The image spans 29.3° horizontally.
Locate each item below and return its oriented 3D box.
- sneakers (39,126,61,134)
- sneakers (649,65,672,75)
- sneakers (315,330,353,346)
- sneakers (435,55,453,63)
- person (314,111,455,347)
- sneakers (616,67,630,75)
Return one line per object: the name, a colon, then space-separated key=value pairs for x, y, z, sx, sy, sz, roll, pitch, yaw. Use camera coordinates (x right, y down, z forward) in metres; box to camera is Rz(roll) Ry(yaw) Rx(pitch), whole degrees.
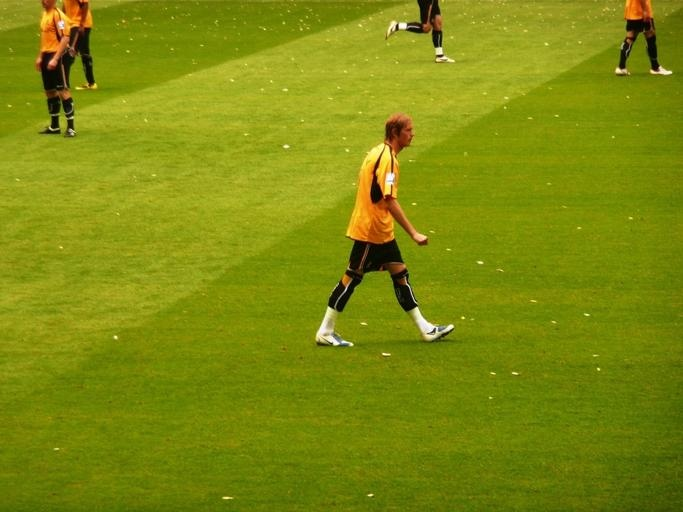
sneakers: x=-4.450 y=-1.911 z=19.733 sx=0.320 sy=0.096 sz=0.101 roll=2 pitch=7 yaw=-1
sneakers: x=5.679 y=-3.322 z=23.244 sx=0.448 sy=0.147 sz=0.150 roll=1 pitch=14 yaw=4
sneakers: x=-0.100 y=0.783 z=12.343 sx=0.389 sy=0.128 sz=0.125 roll=2 pitch=6 yaw=-9
sneakers: x=1.966 y=-3.851 z=25.346 sx=0.459 sy=0.142 sz=0.134 roll=0 pitch=14 yaw=-9
person: x=0.355 y=-0.208 z=12.119 sx=1.195 sy=2.177 sz=0.591 roll=-5 pitch=22 yaw=3
sneakers: x=5.046 y=-3.316 z=23.324 sx=0.131 sy=0.088 sz=0.250 roll=13 pitch=14 yaw=37
